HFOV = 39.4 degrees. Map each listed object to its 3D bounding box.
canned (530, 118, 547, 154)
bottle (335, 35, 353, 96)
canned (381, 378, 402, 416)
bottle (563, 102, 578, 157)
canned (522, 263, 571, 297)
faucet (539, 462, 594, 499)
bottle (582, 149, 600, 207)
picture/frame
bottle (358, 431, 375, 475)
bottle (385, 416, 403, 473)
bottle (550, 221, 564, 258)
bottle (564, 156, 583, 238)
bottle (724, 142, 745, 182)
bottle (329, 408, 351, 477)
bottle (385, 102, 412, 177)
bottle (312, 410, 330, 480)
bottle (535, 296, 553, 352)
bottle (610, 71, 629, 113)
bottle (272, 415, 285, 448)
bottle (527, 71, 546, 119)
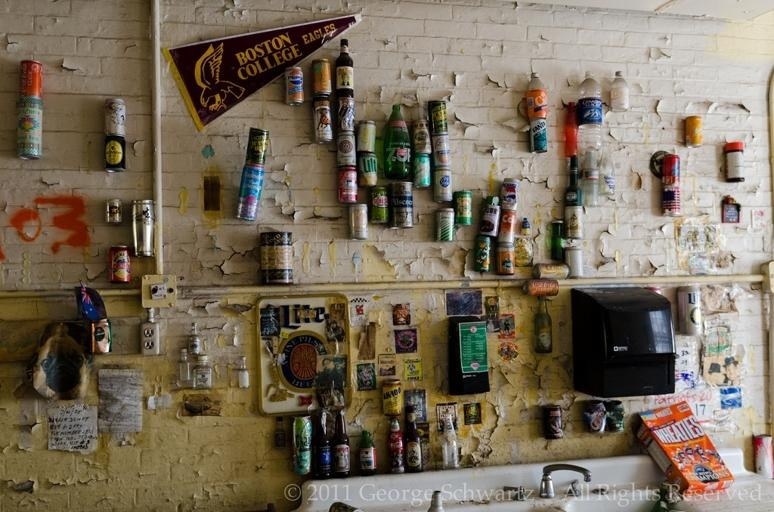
[{"bbox_3d":[0.838,-0.665,5.995,0.098,0.193,0.081,1,20,-2],"label":"canned"},{"bbox_3d":[-0.234,-1.029,5.853,0.107,0.276,0.173,0,20,-3],"label":"bottle"},{"bbox_3d":[0.022,0.767,5.834,0.101,0.195,0.089,0,20,-5],"label":"canned"},{"bbox_3d":[1.025,-0.707,6.059,0.087,0.291,0.126,4,20,7],"label":"bottle"},{"bbox_3d":[0.880,0.136,5.992,0.259,0.175,0.130,-6,21,-21],"label":"canned"},{"bbox_3d":[0.956,1.201,5.782,0.322,0.181,0.118,-6,-8,38],"label":"faucet"},{"bbox_3d":[1.142,-0.446,6.088,0.113,0.308,0.138,5,20,8],"label":"bottle"},{"bbox_3d":[-0.471,0.544,5.803,0.773,0.788,0.059,0,-6,-11],"label":"picture/frame"},{"bbox_3d":[-0.106,1.044,5.805,0.099,0.206,0.147,0,20,-3],"label":"bottle"},{"bbox_3d":[0.046,1.013,5.820,0.099,0.282,0.145,2,20,1],"label":"bottle"},{"bbox_3d":[0.949,-0.087,6.046,0.080,0.215,0.062,2,20,1],"label":"bottle"},{"bbox_3d":[1.037,-0.323,6.042,0.104,0.453,0.202,0,20,-5],"label":"bottle"},{"bbox_3d":[1.984,-0.543,6.192,0.132,0.220,0.118,5,20,10],"label":"bottle"},{"bbox_3d":[-0.247,0.988,5.784,0.107,0.314,0.201,1,20,-3],"label":"bottle"},{"bbox_3d":[0.060,-0.624,5.918,0.149,0.394,0.184,2,20,0],"label":"bottle"},{"bbox_3d":[-0.344,0.995,5.762,0.097,0.324,0.192,0,20,-4],"label":"bottle"},{"bbox_3d":[0.867,0.382,5.996,0.109,0.302,0.133,2,20,2],"label":"bottle"},{"bbox_3d":[1.301,-0.927,6.099,0.102,0.221,0.117,0,20,-5],"label":"bottle"},{"bbox_3d":[-0.574,0.938,5.774,0.065,0.157,0.077,0,20,-6],"label":"bottle"},{"bbox_3d":[0.829,-0.888,6.012,0.120,0.247,0.145,4,20,7],"label":"bottle"}]
